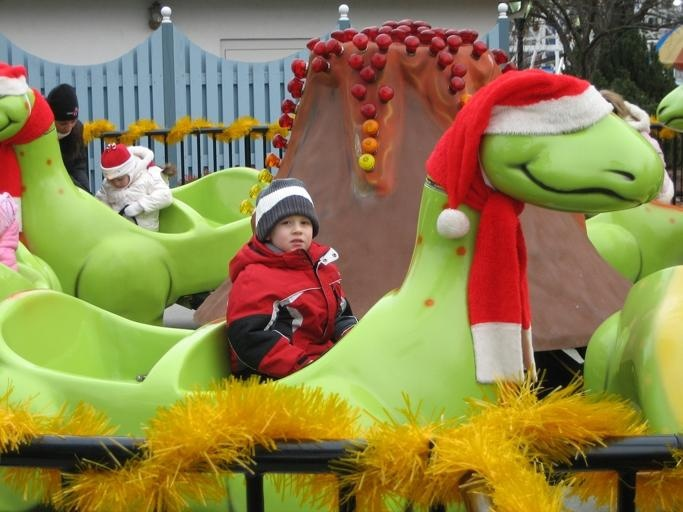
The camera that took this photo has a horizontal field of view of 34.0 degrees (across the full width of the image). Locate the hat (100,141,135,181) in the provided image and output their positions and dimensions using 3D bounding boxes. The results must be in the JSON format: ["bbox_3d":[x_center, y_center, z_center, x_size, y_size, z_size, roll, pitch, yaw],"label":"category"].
[{"bbox_3d":[-1.235,-0.514,6.055,0.158,0.180,0.182,-6,31,3],"label":"hat"}]

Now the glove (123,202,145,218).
[{"bbox_3d":[-1.080,-0.241,5.762,0.087,0.078,0.037,-1,5,-5],"label":"glove"}]

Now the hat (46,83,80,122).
[{"bbox_3d":[-1.451,-0.819,5.769,0.144,0.195,0.189,-10,35,-33],"label":"hat"}]

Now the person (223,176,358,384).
[{"bbox_3d":[-0.134,0.111,3.665,0.438,0.756,0.510,-1,-1,4],"label":"person"}]

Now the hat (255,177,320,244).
[{"bbox_3d":[-0.203,-0.158,3.815,0.190,0.200,0.200,-3,-1,-31],"label":"hat"}]
